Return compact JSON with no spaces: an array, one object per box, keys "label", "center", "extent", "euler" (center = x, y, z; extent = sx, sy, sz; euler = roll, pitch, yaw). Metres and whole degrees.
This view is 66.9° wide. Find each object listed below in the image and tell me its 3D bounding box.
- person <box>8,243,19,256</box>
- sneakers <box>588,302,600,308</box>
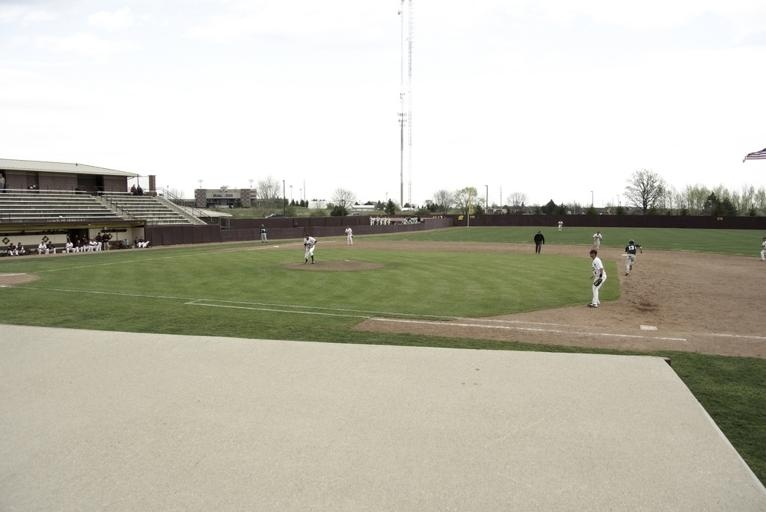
[{"label":"person","center":[-27.681,-0.450,43.274],"extent":[0.791,0.958,0.821],"euler":[0,3,19]},{"label":"sneakers","center":[8.385,1.930,22.816],"extent":[0.517,0.211,0.189],"euler":[2,4,12]}]
